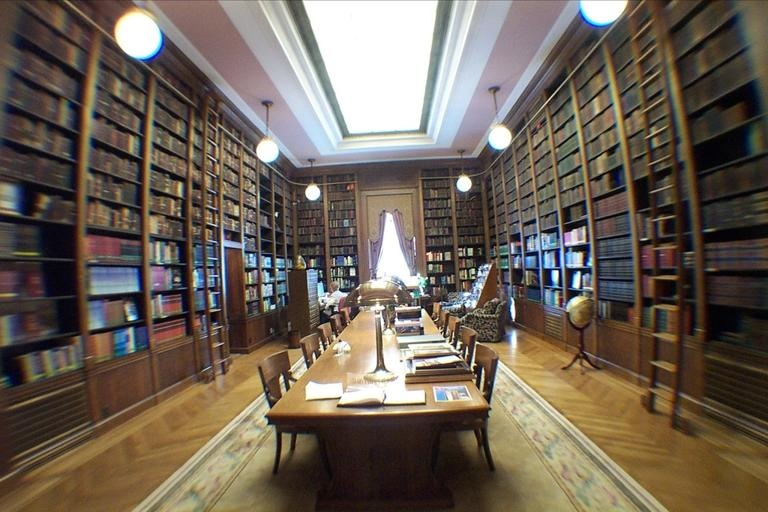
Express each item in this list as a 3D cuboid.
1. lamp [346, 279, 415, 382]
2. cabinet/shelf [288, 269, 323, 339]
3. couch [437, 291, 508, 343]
[{"bbox_3d":[-0.064,0.730,4.978,0.814,1.228,0.847,-1,-3,-2],"label":"lamp"},{"bbox_3d":[-1.497,0.857,8.721,0.463,1.324,0.650,4,1,4],"label":"cabinet/shelf"},{"bbox_3d":[1.666,1.109,8.606,0.999,0.818,1.296,4,1,1],"label":"couch"}]
